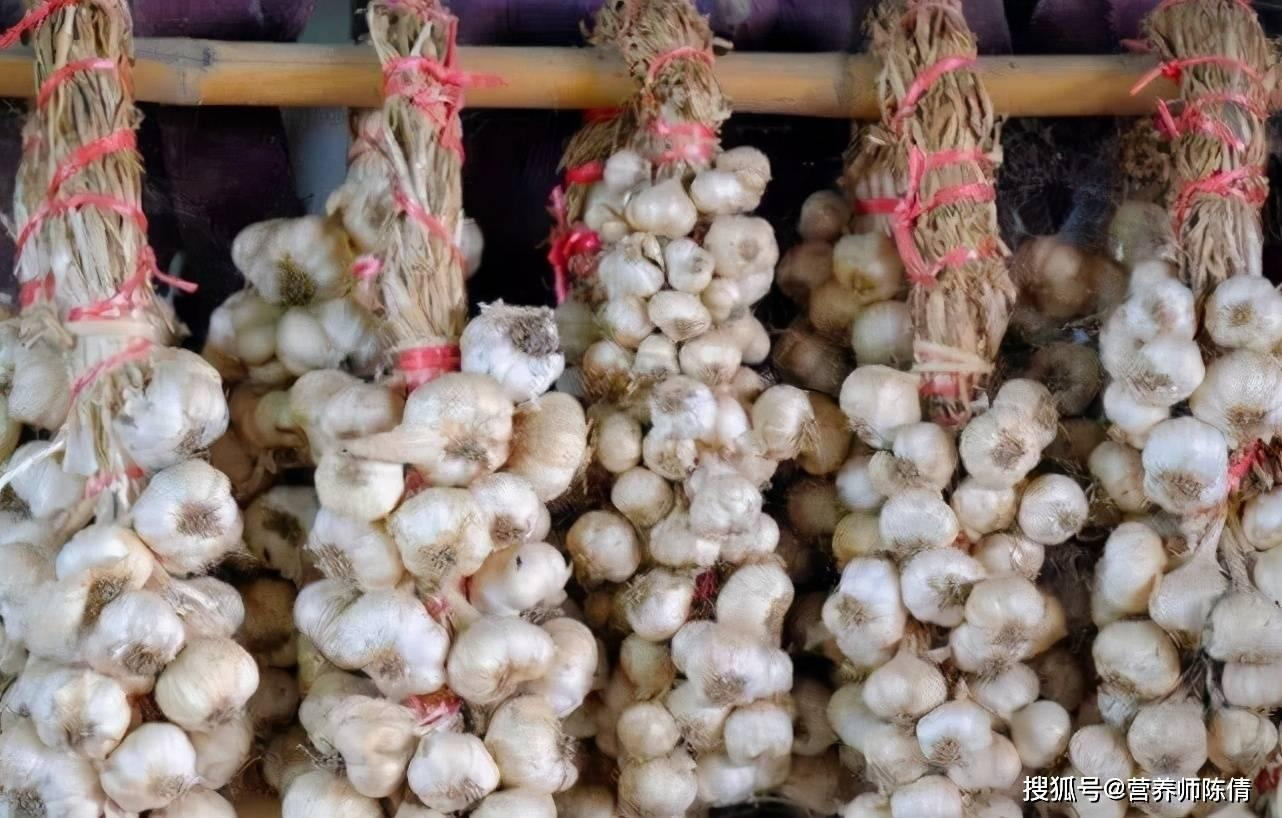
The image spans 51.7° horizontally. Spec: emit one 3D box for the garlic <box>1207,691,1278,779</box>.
[{"bbox_3d":[0.875,0.481,1.931,0.084,0.088,0.108,0,4,3],"label":"garlic"}]
